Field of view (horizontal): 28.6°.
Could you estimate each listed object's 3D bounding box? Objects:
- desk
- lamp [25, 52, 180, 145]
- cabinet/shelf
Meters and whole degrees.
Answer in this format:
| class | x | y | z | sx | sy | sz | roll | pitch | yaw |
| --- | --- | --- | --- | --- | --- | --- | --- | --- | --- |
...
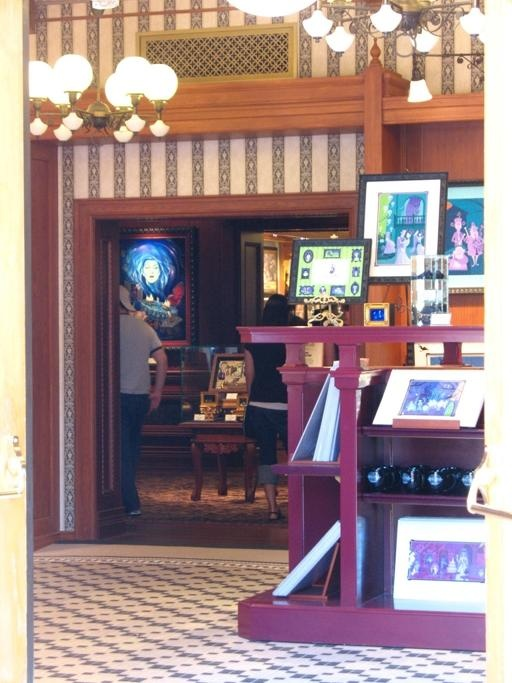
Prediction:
| class | x | y | z | sx | sy | sz | roll | pitch | yaw |
| --- | --- | --- | --- | --- | --- | --- | --- | --- | --- |
| desk | -0.227 | 1.043 | 8.731 | 0.694 | 0.693 | 0.673 | 1 | 3 | 28 |
| lamp | -0.889 | -1.352 | 5.702 | 0.746 | 0.414 | 1.234 | -1 | 6 | -11 |
| cabinet/shelf | 0.435 | 0.516 | 4.576 | 1.330 | 1.349 | 1.144 | -1 | -2 | 12 |
